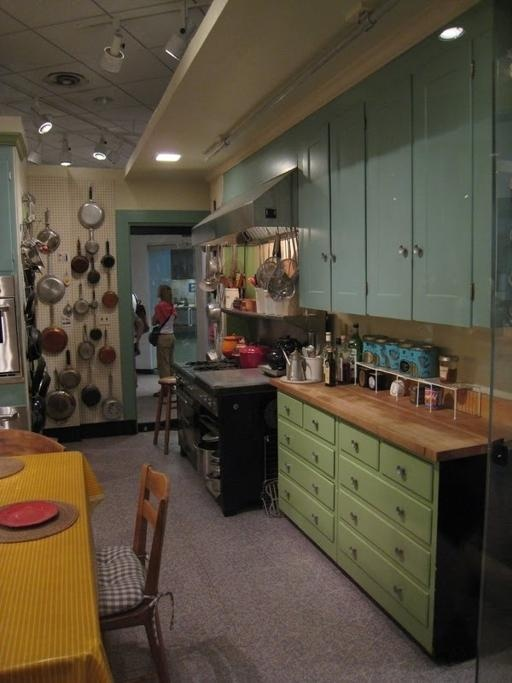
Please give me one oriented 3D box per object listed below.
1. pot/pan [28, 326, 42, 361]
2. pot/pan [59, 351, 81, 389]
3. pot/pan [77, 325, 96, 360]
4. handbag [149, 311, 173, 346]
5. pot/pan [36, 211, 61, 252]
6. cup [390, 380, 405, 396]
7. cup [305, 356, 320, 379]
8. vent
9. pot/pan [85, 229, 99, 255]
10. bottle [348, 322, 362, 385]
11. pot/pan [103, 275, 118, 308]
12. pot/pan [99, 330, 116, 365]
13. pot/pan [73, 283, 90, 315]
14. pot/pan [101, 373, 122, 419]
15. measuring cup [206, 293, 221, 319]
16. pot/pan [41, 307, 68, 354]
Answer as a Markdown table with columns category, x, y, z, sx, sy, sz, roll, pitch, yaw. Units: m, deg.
| category | x | y | z | sx | sy | sz | roll | pitch | yaw |
| --- | --- | --- | --- | --- | --- | --- | --- | --- | --- |
| pot/pan | -1.809 | 0.017 | 4.165 | 0.054 | 0.236 | 0.161 | -3 | 3 | -17 |
| pot/pan | -1.898 | 0.293 | 5.171 | 0.213 | 0.422 | 0.116 | -4 | 5 | -23 |
| pot/pan | -1.743 | 0.016 | 5.234 | 0.176 | 0.374 | 0.080 | -4 | 5 | -19 |
| handbag | -1.256 | -0.156 | 6.652 | 0.315 | 0.370 | 0.206 | -3 | 4 | 2 |
| pot/pan | -2.064 | -1.092 | 5.030 | 0.168 | 0.433 | 0.249 | -2 | 4 | 10 |
| cup | 0.689 | 0.230 | 2.500 | 0.062 | 0.071 | 0.072 | 17 | 26 | 41 |
| cup | 0.346 | 0.161 | 3.132 | 0.116 | 0.125 | 0.098 | -4 | 7 | -24 |
| vent | -0.036 | -0.923 | 3.651 | 0.427 | 0.373 | 1.198 | -4 | 5 | -18 |
| pot/pan | -1.665 | -1.013 | 5.174 | 0.140 | 0.233 | 0.075 | -4 | 0 | -10 |
| bottle | 0.564 | 0.061 | 2.901 | 0.075 | 0.340 | 0.277 | -2 | 4 | 11 |
| pot/pan | -1.509 | -0.531 | 5.281 | 0.170 | 0.388 | 0.075 | -4 | 5 | -21 |
| pot/pan | -1.544 | 0.052 | 5.281 | 0.180 | 0.338 | 0.049 | -3 | -2 | -29 |
| pot/pan | -1.787 | -0.425 | 5.208 | 0.154 | 0.348 | 0.064 | -4 | 5 | -22 |
| pot/pan | -1.507 | 0.574 | 5.314 | 0.197 | 0.516 | 0.095 | -4 | 5 | -18 |
| measuring cup | -0.427 | -0.363 | 5.145 | 0.158 | 0.267 | 0.265 | 3 | -15 | -1 |
| pot/pan | -2.015 | -0.115 | 5.109 | 0.237 | 0.507 | 0.127 | -5 | 5 | -25 |
